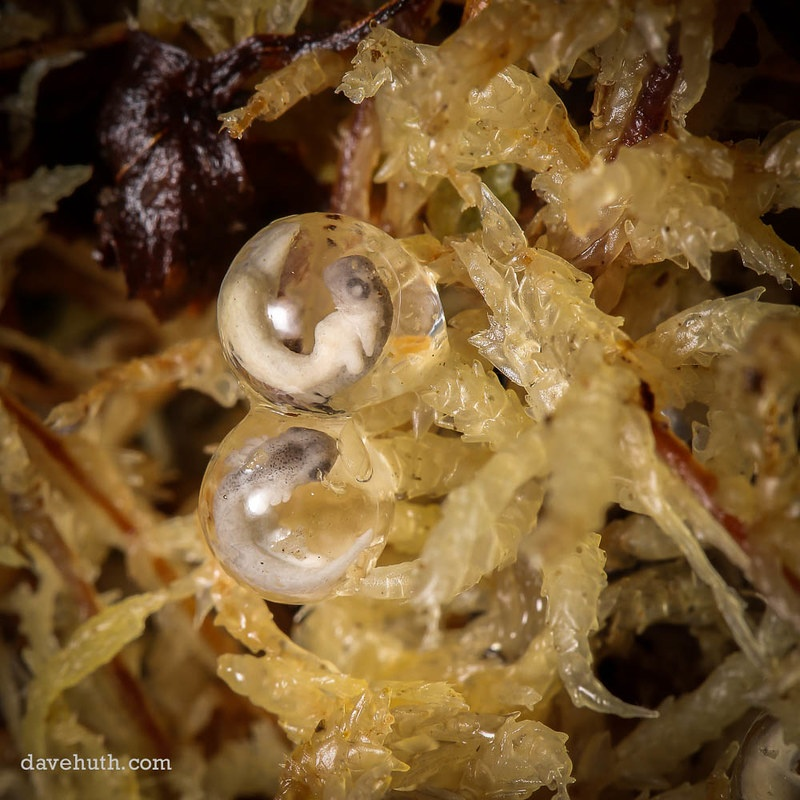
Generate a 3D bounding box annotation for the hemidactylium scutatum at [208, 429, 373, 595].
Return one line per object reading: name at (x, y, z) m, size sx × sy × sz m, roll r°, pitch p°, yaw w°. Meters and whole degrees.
hemidactylium scutatum at (-0.111, 0.112, 1.079) m, size 0.146 × 0.062 × 0.152 m, roll -21°, pitch 73°, yaw -3°

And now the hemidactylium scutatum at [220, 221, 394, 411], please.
hemidactylium scutatum at (-0.087, -0.080, 1.089) m, size 0.152 × 0.091 × 0.170 m, roll 10°, pitch 92°, yaw 6°
